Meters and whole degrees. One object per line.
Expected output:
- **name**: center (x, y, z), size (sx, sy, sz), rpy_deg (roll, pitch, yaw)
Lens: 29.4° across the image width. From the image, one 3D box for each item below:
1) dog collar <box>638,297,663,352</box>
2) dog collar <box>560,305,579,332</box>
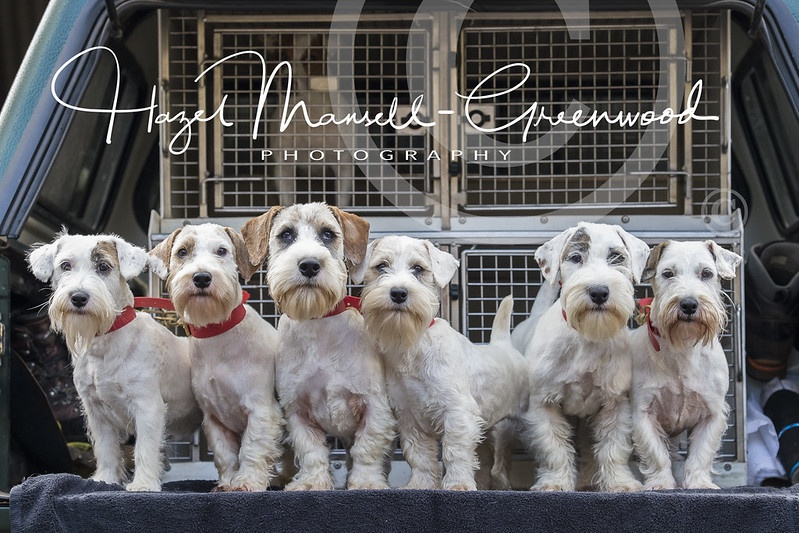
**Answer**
- **dog collar**: center (1.647, 0.405, 10.332), size (0.095, 0.299, 0.201), rpy_deg (-16, -8, 34)
- **dog collar**: center (1.103, 0.355, 10.228), size (0.081, 0.117, 0.041), rpy_deg (-9, -25, -29)
